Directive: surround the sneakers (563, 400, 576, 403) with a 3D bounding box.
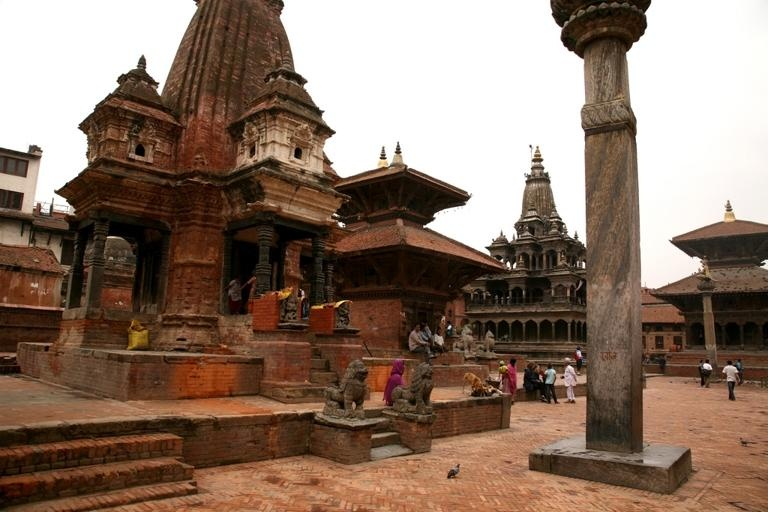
[{"bbox_3d":[6.853,5.350,19.933,0.440,0.157,0.137,2,-14,7],"label":"sneakers"}]

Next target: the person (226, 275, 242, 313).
[{"bbox_3d":[-4.394,1.144,15.915,0.448,1.082,0.455,4,-12,-17],"label":"person"}]

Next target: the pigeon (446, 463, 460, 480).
[{"bbox_3d":[1.320,4.054,10.272,0.235,0.198,0.584,-1,-10,8],"label":"pigeon"}]

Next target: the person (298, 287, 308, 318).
[{"bbox_3d":[-2.131,1.272,14.273,0.282,0.778,0.990,2,-11,-8],"label":"person"}]

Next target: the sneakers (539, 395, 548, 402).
[{"bbox_3d":[5.807,5.170,19.701,0.143,0.211,0.387,6,-12,-27],"label":"sneakers"}]
